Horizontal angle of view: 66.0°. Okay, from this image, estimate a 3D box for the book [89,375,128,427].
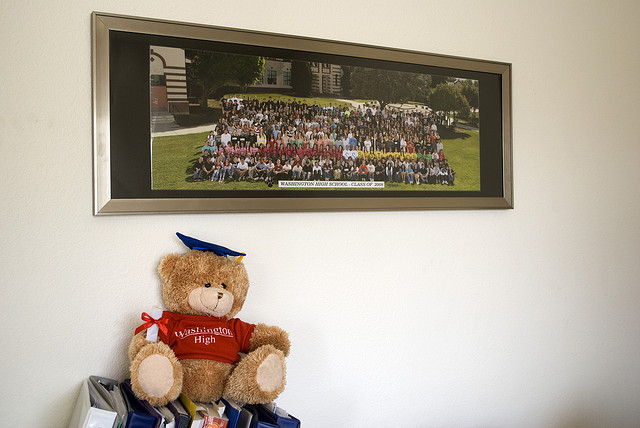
[{"bbox_3d":[-0.770,0.693,1.837,0.115,0.053,0.163,5,-2,-8],"label":"book"}]

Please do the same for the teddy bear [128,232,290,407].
[{"bbox_3d":[-0.432,0.420,1.967,0.590,0.686,0.405,10,-20,-22],"label":"teddy bear"}]

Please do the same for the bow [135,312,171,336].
[{"bbox_3d":[-0.632,0.425,1.885,0.113,0.084,0.035,6,-16,0],"label":"bow"}]

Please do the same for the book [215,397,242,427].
[{"bbox_3d":[-0.327,0.732,1.813,0.072,0.078,0.018,9,2,41],"label":"book"}]
